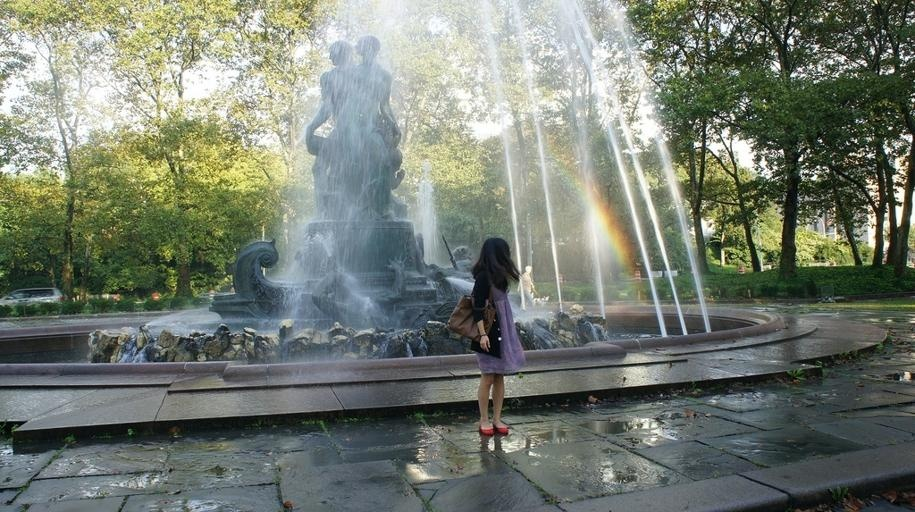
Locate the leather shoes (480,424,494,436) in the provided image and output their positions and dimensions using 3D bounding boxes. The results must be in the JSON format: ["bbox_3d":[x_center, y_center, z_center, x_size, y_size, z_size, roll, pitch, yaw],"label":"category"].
[{"bbox_3d":[0.622,3.389,11.416,0.321,0.217,0.207,-2,-3,-8],"label":"leather shoes"}]
